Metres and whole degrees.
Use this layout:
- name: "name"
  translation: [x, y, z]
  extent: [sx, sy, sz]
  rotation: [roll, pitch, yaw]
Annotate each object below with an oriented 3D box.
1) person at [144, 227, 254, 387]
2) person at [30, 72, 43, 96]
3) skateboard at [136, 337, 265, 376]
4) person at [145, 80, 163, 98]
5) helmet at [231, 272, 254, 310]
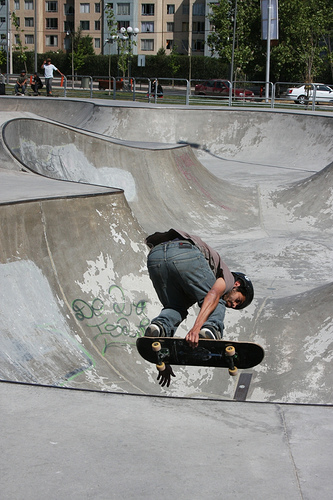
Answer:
- name: "person"
  translation: [0.201, 0.421, 3.899]
  extent: [0.592, 0.809, 1.200]
  rotation: [-22, 9, 18]
- name: "person"
  translation: [-5.120, -6.508, 23.405]
  extent: [0.392, 0.871, 1.298]
  rotation: [1, 10, -11]
- name: "skateboard"
  translation: [0.156, 0.554, 3.379]
  extent: [0.773, 0.272, 0.113]
  rotation: [5, 27, 9]
- name: "person"
  translation: [-0.431, -6.445, 24.073]
  extent: [0.905, 0.880, 0.604]
  rotation: [3, 4, 0]
- name: "helmet"
  translation: [0.479, 0.252, 3.750]
  extent: [0.187, 0.202, 0.158]
  rotation: [12, -24, 13]
